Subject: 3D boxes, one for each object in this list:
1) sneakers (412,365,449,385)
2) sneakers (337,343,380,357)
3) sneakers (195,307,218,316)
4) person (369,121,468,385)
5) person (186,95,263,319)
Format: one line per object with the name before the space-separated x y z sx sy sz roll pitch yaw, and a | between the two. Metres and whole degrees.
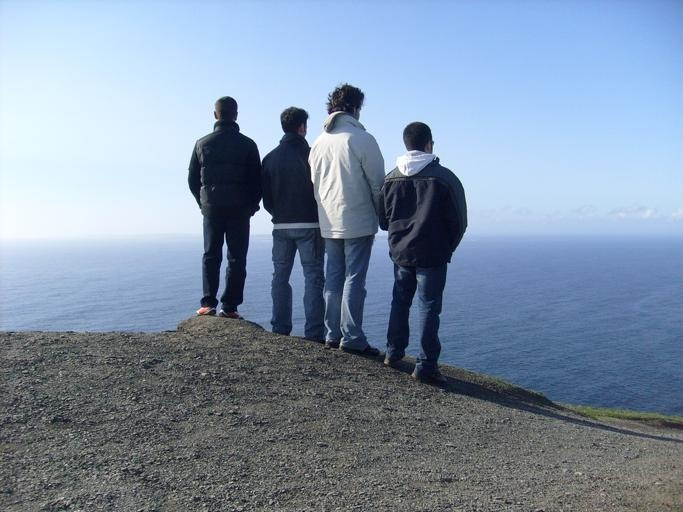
sneakers | 1.072 1.492 7.880 0.463 0.212 0.178 12 16 -25
sneakers | 0.262 1.256 8.432 0.586 0.240 0.197 5 4 -25
sneakers | -1.961 0.804 9.247 0.267 0.122 0.126 -1 -1 -3
person | 0.909 -0.047 7.766 0.962 3.106 1.144 12 -8 -32
person | -1.649 -0.762 8.970 0.998 2.827 0.705 9 -7 -13
